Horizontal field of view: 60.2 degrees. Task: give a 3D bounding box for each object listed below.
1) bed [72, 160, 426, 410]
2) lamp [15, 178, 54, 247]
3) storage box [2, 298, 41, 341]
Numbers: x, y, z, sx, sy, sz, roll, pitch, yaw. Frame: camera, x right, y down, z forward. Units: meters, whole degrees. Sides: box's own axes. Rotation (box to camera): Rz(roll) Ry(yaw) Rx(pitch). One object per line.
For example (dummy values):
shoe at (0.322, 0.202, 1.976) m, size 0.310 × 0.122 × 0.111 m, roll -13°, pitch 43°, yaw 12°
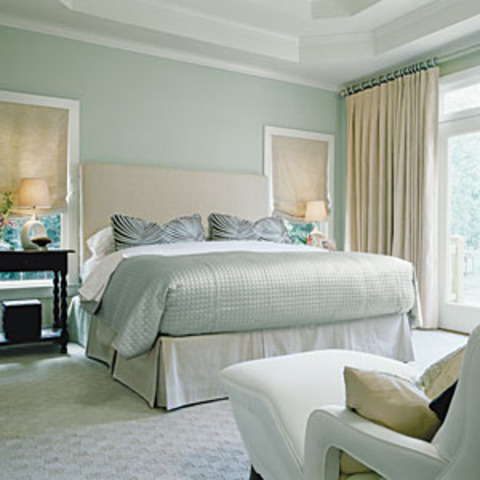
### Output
bed at (-0.310, 0.352, 3.248) m, size 1.893 × 1.417 × 1.894 m, roll 1°, pitch -3°, yaw -28°
lamp at (-1.698, -0.215, 3.436) m, size 0.272 × 0.595 × 0.609 m, roll 0°, pitch 0°, yaw -29°
storage box at (-1.591, 0.587, 3.076) m, size 0.250 × 0.299 × 0.263 m, roll 2°, pitch -7°, yaw -23°
